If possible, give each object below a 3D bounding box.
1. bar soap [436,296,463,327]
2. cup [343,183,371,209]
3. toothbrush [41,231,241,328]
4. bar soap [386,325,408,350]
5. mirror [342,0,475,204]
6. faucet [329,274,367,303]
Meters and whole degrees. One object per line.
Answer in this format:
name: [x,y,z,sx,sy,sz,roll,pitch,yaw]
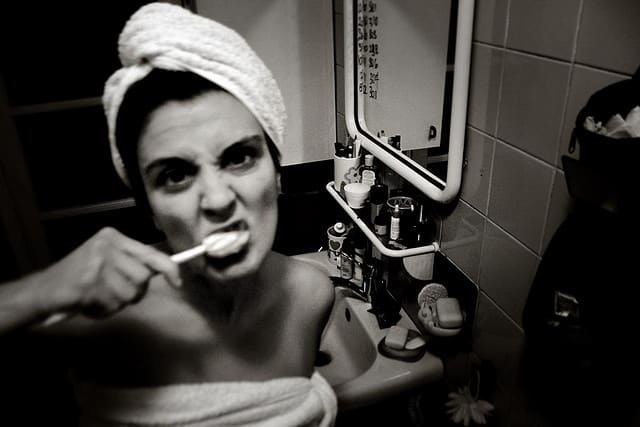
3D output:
bar soap: [0.393,0.303,1.641,0.076,0.071,0.065,-7,20,8]
cup: [0.137,-0.063,1.891,0.084,0.060,0.083,0,10,0]
toothbrush: [-0.387,0.156,1.200,0.374,0.047,0.084,-30,53,-24]
bar soap: [0.246,0.397,1.737,0.058,0.025,0.064,10,44,18]
mirror: [0.284,-0.356,1.689,0.046,0.599,0.572,-10,26,-23]
faucet: [0.103,0.274,1.999,0.067,0.027,0.114,-2,28,-34]
